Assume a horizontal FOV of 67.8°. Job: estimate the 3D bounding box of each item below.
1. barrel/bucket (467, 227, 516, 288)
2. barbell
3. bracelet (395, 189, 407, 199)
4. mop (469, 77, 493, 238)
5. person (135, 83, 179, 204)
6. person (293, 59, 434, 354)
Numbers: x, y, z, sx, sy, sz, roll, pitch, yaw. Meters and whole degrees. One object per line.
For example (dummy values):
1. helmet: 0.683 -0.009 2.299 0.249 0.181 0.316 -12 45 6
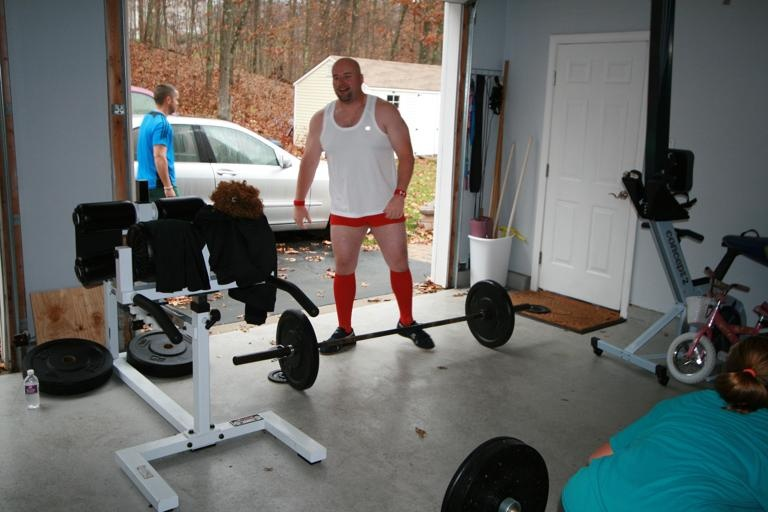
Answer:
1. barrel/bucket: 1.252 0.085 6.810 0.492 0.661 0.353 0 13 3
2. barbell: 0.085 0.662 4.923 2.816 0.694 0.692 -8 5 -22
3. bracelet: 0.138 -0.521 4.837 0.084 0.044 0.079 18 -3 -36
4. mop: 1.103 -1.054 6.823 0.213 2.089 0.422 -8 14 -35
5. person: -2.356 -1.183 5.977 0.368 1.177 0.409 1 13 10
6. person: -0.206 -0.389 5.039 1.126 2.510 0.653 -1 12 8
